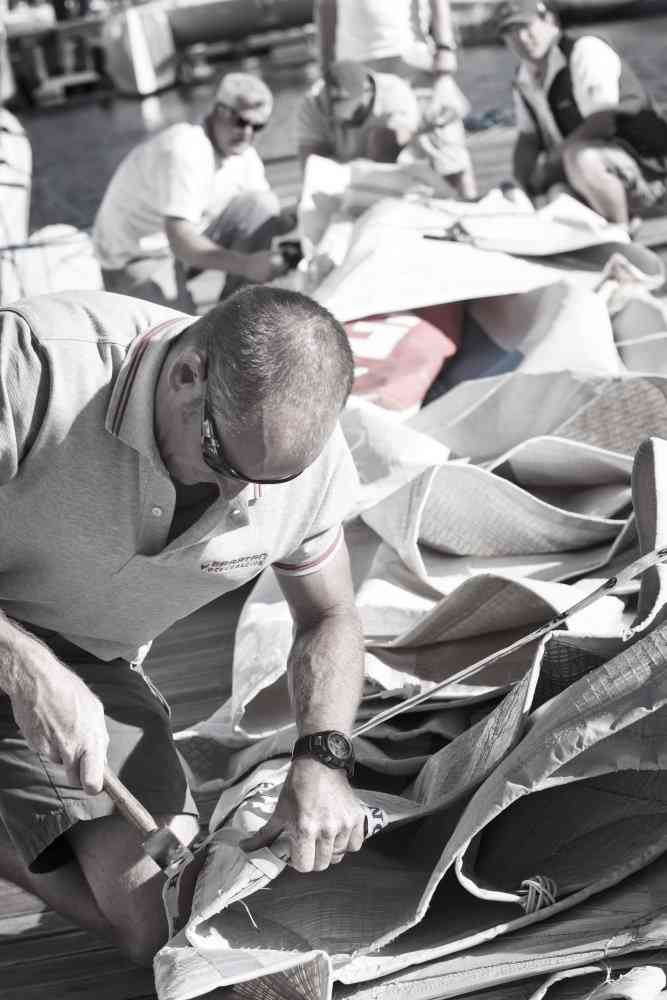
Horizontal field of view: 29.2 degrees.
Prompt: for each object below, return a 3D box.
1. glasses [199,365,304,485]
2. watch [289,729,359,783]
[{"bbox_3d":[-0.126,-0.076,1.786,0.119,0.250,0.158,-12,35,-8],"label":"glasses"},{"bbox_3d":[-0.004,0.371,1.895,0.086,0.078,0.059,27,54,-19],"label":"watch"}]
